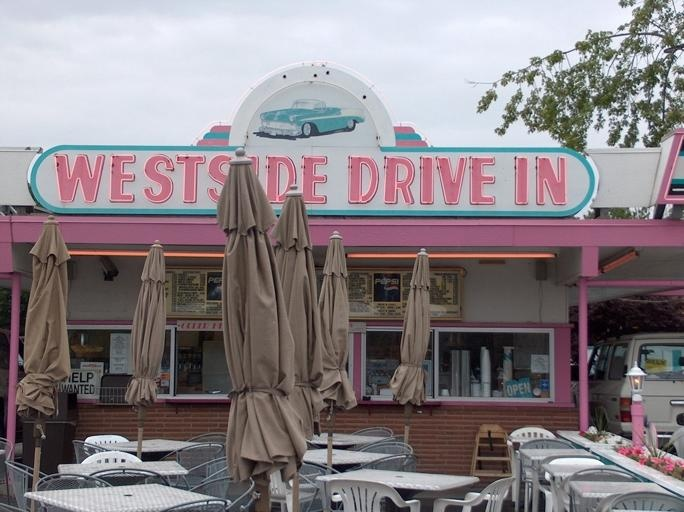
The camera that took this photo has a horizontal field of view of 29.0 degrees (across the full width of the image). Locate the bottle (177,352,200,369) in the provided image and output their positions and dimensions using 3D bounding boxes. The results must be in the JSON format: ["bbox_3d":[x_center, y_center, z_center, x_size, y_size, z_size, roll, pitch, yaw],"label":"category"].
[{"bbox_3d":[-2.900,1.999,25.001,0.500,0.248,0.347,2,3,-2],"label":"bottle"}]

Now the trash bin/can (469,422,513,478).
[{"bbox_3d":[2.747,3.646,24.659,0.686,0.957,0.703,0,11,0],"label":"trash bin/can"}]

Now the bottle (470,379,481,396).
[{"bbox_3d":[2.486,2.549,25.147,0.245,0.439,0.249,0,-3,0],"label":"bottle"}]

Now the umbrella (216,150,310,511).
[{"bbox_3d":[-1.159,1.026,17.947,1.122,4.932,0.419,1,-4,-8],"label":"umbrella"}]

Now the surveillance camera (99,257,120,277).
[{"bbox_3d":[-4.487,0.235,25.466,0.374,0.432,0.254,2,-4,-11],"label":"surveillance camera"}]

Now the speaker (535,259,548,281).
[{"bbox_3d":[3.752,0.274,25.175,0.242,0.384,0.257,0,-4,7],"label":"speaker"}]

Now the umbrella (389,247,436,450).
[{"bbox_3d":[1.174,1.568,23.053,0.618,3.384,1.248,1,-4,2],"label":"umbrella"}]
